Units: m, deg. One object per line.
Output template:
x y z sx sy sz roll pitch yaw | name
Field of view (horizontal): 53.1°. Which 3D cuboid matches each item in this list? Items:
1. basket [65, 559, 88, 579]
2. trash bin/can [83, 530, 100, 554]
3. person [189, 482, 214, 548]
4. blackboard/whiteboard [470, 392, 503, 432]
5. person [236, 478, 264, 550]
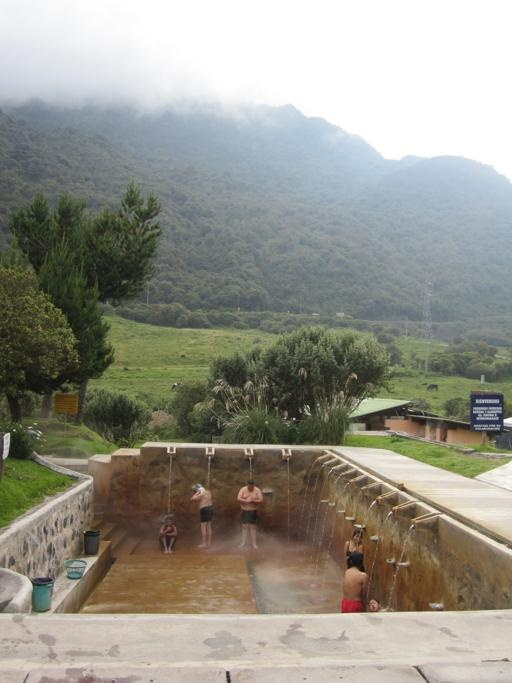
-3.106 3.885 8.762 0.311 0.200 0.312 0 -1 6 | basket
-3.460 4.187 10.625 0.344 0.485 0.290 -1 -8 -9 | trash bin/can
-1.348 4.424 13.003 0.458 1.542 1.317 -1 -8 -8 | person
5.971 1.819 12.998 1.001 1.315 0.145 0 -3 9 | blackboard/whiteboard
-0.133 4.357 12.924 0.569 1.694 1.233 -2 -8 -3 | person
